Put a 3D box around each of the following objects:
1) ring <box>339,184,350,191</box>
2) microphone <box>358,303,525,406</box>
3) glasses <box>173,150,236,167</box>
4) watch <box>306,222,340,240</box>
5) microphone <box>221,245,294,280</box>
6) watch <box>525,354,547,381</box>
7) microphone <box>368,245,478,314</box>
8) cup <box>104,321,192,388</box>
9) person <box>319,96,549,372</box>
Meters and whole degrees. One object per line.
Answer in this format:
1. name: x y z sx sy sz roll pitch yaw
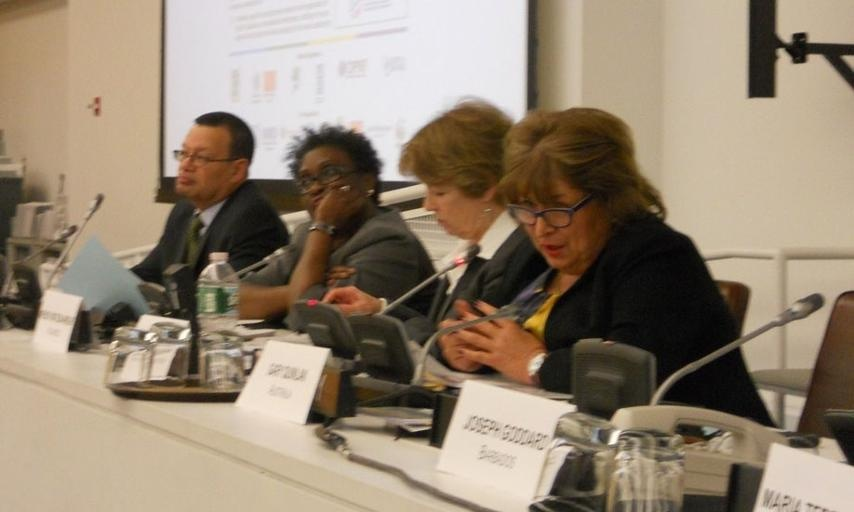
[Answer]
1. ring: -0.283 -0.233 2.291 0.031 0.024 0.007 2 3 -4
2. microphone: 0.038 0.213 1.494 0.281 0.155 0.402 4 -3 18
3. glasses: -0.888 -0.383 2.629 0.274 0.048 0.082 3 -3 17
4. watch: -0.362 -0.092 2.294 0.078 0.042 0.068 -2 -33 -1
5. microphone: -0.596 0.025 2.355 0.277 0.034 0.031 -22 -2 13
6. watch: 0.250 0.253 1.545 0.020 0.052 0.055 33 -16 -29
7. microphone: -0.022 0.076 2.048 0.055 0.052 0.462 -13 14 38
8. cup: -0.639 0.219 1.542 0.186 0.149 0.134 -10 -15 33
9. person: 0.105 -0.091 2.298 0.848 0.900 0.692 3 -4 -13
